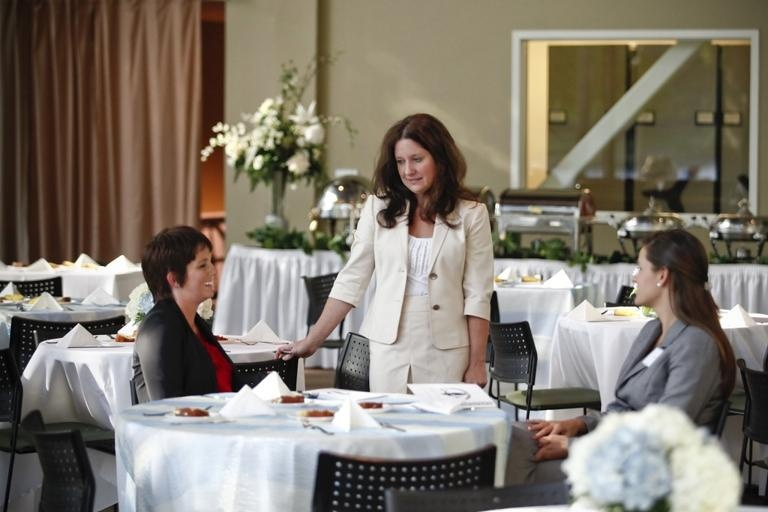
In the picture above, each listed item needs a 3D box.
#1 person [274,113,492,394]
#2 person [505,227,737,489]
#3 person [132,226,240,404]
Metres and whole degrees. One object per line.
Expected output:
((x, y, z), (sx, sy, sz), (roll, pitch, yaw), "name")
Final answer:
((0.124, -0.001, 4.218), (0.784, 1.341, 0.252), (-1, 1, 17), "person")
((1.122, 0.434, 3.899), (0.914, 1.113, 0.453), (-1, 1, -20), "person")
((-0.962, 0.268, 3.975), (0.430, 0.822, 0.315), (-1, 1, -19), "person")
